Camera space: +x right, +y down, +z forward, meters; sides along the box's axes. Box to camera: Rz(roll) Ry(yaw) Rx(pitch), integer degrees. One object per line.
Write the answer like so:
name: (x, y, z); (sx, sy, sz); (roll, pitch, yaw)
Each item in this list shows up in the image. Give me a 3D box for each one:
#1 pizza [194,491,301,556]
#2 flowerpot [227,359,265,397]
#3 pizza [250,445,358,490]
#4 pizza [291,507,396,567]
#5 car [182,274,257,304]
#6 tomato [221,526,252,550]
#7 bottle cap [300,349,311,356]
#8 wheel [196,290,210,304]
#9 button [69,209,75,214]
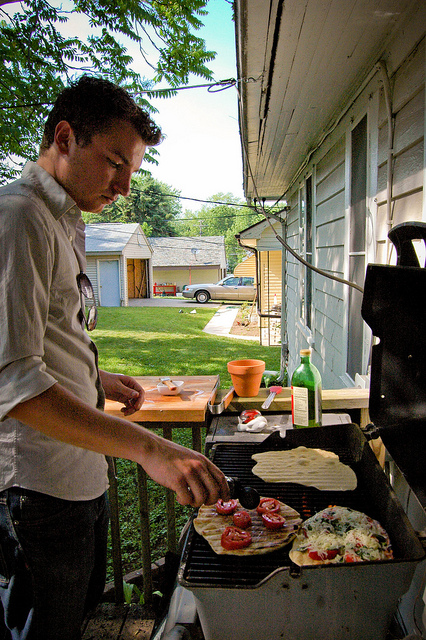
pizza: (0.089, 0.530, 1.282); (0.277, 0.051, 0.290); (6, 1, 18)
flowerpot: (0.156, 0.280, 2.387); (0.177, 0.154, 0.175); (1, -1, -21)
pizza: (0.288, 0.466, 1.539); (0.330, 0.037, 0.293); (-8, 6, 17)
pizza: (0.291, 0.497, 1.085); (0.139, 0.029, 0.149); (-13, 4, 0)
car: (0.272, -1.503, 22.927); (3.359, 1.026, 1.346); (2, 6, 14)
tomato: (0.056, 0.524, 1.162); (0.069, 0.024, 0.107); (-9, 5, 4)
bottle cap: (0.351, 0.123, 1.829); (0.047, 0.033, 0.048); (-2, 0, 7)
wheel: (-0.522, -1.192, 23.694); (0.590, 0.605, 0.228); (-2, 16, 3)
button: (-0.389, -0.302, 1.327); (0.007, 0.009, 0.017); (-7, 6, 21)
